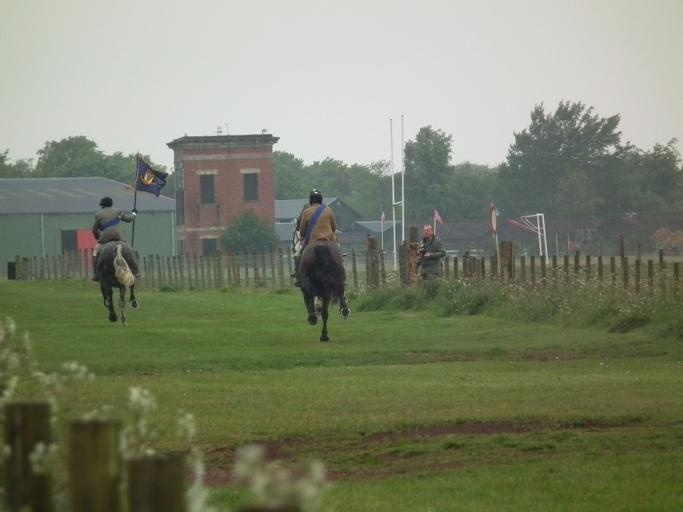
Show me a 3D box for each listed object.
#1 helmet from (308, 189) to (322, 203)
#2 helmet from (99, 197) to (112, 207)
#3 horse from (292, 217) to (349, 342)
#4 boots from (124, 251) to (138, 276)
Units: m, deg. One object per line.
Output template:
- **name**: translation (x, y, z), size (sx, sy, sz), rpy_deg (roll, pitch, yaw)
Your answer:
- **helmet**: translation (-0.784, -1.785, 44.461), size (0.313, 0.385, 0.371), rpy_deg (4, -39, -4)
- **helmet**: translation (-7.376, -1.658, 47.813), size (0.348, 0.419, 0.460), rpy_deg (0, 13, -6)
- **horse**: translation (-0.557, 0.939, 43.793), size (1.326, 2.848, 1.006), rpy_deg (-1, -3, 2)
- **boots**: translation (-6.450, 0.165, 46.881), size (0.216, 0.753, 0.296), rpy_deg (-23, -16, 32)
